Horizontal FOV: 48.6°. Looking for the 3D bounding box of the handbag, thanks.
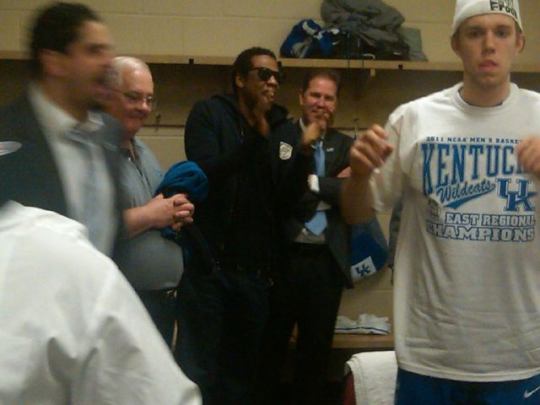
[{"bbox_3d":[0.222,-0.901,3.314,0.292,0.229,0.127,10,-19,28],"label":"handbag"}]
